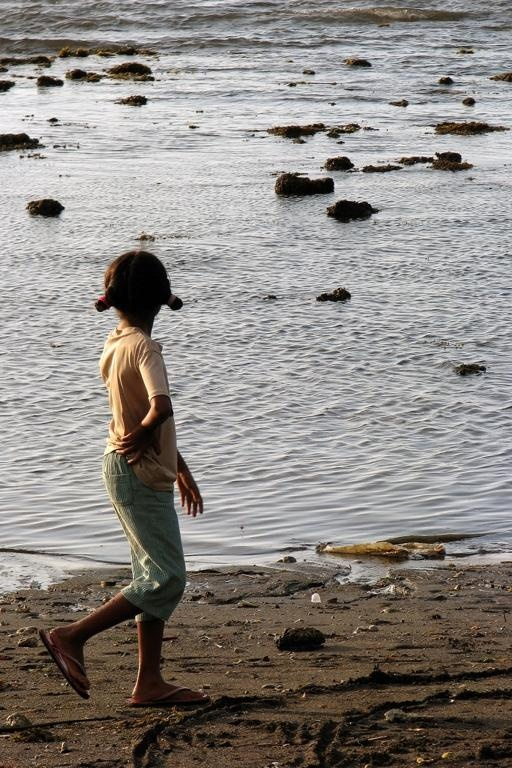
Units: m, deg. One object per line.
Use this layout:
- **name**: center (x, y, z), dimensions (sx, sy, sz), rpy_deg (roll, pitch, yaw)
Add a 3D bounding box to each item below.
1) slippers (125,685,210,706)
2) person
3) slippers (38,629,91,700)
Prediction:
- **slippers**: center (-0.322, 1.187, 4.837), dimensions (0.234, 0.059, 0.110), rpy_deg (-4, 5, -6)
- **person**: center (-0.524, 0.389, 4.907), dimensions (0.620, 1.734, 0.697), rpy_deg (-4, 15, -3)
- **slippers**: center (-0.713, 1.044, 4.786), dimensions (0.102, 0.312, 0.125), rpy_deg (-27, -1, 4)
